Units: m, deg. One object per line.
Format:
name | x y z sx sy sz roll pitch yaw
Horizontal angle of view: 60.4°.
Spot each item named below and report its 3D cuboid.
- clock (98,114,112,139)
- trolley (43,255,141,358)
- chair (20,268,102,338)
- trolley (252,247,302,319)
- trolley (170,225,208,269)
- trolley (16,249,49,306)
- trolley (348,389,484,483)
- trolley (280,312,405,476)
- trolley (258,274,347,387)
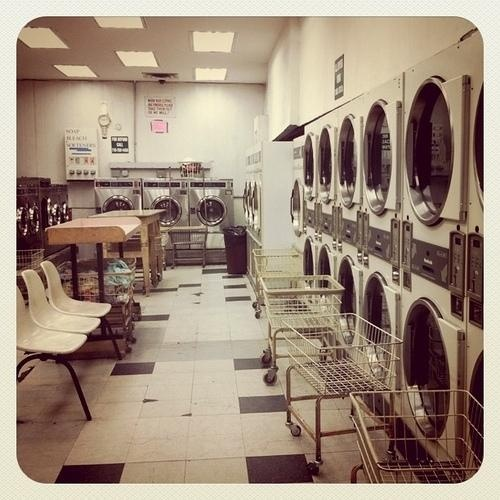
clock | -3.133 -2.678 9.372 0.227 0.500 0.104 1 14 -2
trolley | -1.369 0.505 3.820 0.673 1.084 1.113 -2 2 -7
chair | -1.334 0.349 3.080 0.453 0.413 0.410 2 8 -5
trolley | 0.393 0.228 5.331 0.486 0.722 0.822 4 -28 5
trolley | -1.280 -0.048 8.967 0.792 0.905 0.681 -2 0 -15
trolley | -3.051 0.354 5.737 0.378 0.717 0.535 2 3 4
trolley | 0.767 0.894 1.975 0.437 0.374 0.730 -6 -34 14
trolley | 0.532 0.916 2.614 0.531 0.980 0.885 -3 9 -12
trolley | 0.417 0.628 3.413 0.629 0.701 0.507 0 1 -5
